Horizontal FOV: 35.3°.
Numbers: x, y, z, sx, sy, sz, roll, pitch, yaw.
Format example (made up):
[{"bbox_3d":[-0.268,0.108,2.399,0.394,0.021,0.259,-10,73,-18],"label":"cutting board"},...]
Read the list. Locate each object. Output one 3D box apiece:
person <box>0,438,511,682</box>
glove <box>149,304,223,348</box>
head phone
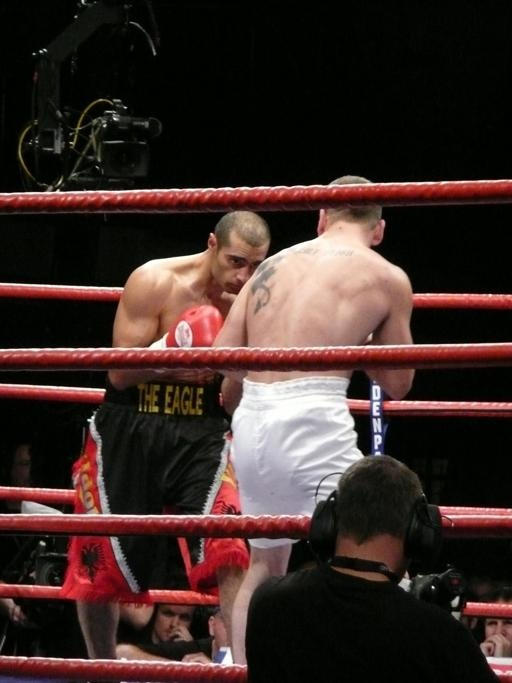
[{"bbox_3d":[-0.099,0.538,1.926,1.242,0.236,1.051,1,-10,-1],"label":"person"},{"bbox_3d":[-0.178,-0.026,1.983,0.143,0.060,0.105,-11,18,45],"label":"glove"},{"bbox_3d":[0.187,0.299,1.273,0.211,0.124,0.110,7,14,17],"label":"head phone"}]
